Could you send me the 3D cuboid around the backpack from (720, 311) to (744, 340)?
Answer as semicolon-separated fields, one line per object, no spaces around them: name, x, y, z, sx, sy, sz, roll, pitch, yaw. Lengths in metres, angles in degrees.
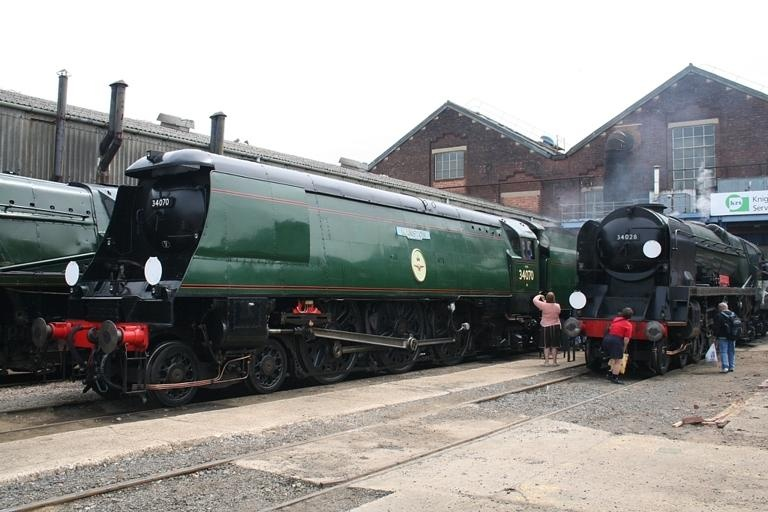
backpack;8.965;1.790;14.812;0.475;0.699;0.364;0;-1;27

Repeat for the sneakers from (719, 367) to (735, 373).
sneakers;8.791;2.928;14.670;0.284;0.102;0.164;0;-1;27

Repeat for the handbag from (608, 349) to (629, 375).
handbag;5.625;2.569;13.683;0.522;0.475;0.284;1;-1;-25
